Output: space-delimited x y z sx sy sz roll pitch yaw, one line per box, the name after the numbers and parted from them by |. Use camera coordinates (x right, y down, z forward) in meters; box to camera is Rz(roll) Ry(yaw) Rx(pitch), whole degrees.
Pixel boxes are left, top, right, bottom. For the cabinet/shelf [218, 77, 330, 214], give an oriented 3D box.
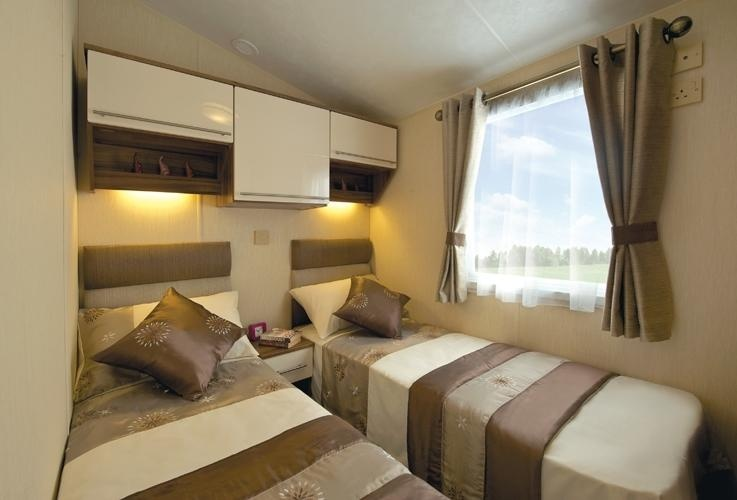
-0.691 -0.737 3.837 0.784 0.771 0.314 -1 3 -31 | cabinet/shelf

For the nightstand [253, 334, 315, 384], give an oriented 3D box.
-0.640 0.807 3.727 0.334 0.345 0.338 8 11 41 | nightstand

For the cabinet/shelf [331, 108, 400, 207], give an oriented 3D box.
-0.152 -0.762 4.350 0.724 0.658 0.496 1 -1 -34 | cabinet/shelf

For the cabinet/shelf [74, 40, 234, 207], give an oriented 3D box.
-1.409 -0.837 3.406 0.943 0.838 0.361 0 12 -37 | cabinet/shelf
